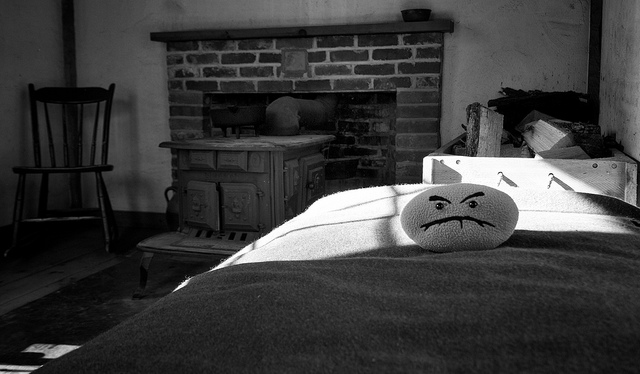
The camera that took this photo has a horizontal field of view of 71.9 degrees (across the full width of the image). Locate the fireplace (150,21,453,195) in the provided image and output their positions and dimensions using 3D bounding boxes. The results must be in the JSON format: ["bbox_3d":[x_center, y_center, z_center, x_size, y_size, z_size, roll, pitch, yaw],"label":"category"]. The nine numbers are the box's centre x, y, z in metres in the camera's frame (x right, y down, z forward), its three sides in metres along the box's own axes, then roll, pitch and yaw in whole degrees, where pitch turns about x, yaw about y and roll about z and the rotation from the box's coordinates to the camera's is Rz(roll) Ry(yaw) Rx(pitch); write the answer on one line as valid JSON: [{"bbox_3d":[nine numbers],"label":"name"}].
[{"bbox_3d":[-0.137,-0.573,3.439,2.115,1.367,0.952,5,15,14],"label":"fireplace"}]
